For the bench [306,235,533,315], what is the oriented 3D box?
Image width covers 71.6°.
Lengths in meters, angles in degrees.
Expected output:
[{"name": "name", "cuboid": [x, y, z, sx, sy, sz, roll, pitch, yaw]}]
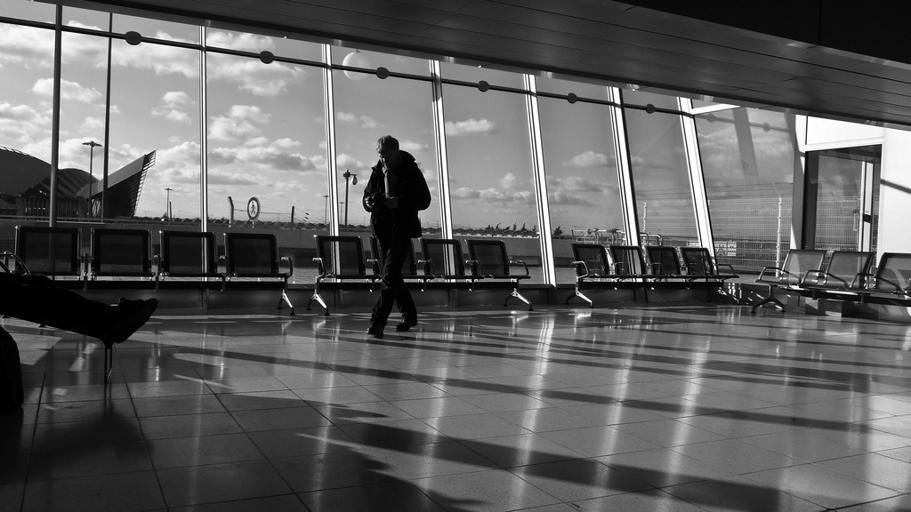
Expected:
[{"name": "bench", "cuboid": [-0.500, 0.275, 10.156, 3.425, 0.879, 0.923, 1, 21, -22]}]

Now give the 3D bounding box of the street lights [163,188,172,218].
[{"name": "street lights", "cuboid": [-4.676, -0.866, 10.287, 0.231, 0.464, 0.089, 0, 1, 43]}]

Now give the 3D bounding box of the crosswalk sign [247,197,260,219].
[{"name": "crosswalk sign", "cuboid": [-3.413, -0.809, 10.702, 0.213, 0.312, 0.048, -2, 1, -38]}]

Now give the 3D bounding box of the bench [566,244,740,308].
[{"name": "bench", "cuboid": [3.752, 0.360, 11.895, 3.661, 0.971, 1.086, 0, 9, -28]}]

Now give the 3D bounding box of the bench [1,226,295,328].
[{"name": "bench", "cuboid": [-4.367, 0.150, 9.238, 3.736, 0.916, 0.673, 1, -5, -12]}]

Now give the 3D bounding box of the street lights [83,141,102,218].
[{"name": "street lights", "cuboid": [-5.816, -1.258, 10.141, 0.248, 1.145, 0.213, -1, 1, -30]}]

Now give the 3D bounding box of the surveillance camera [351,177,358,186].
[{"name": "surveillance camera", "cuboid": [-1.767, -1.320, 11.035, 0.114, 0.128, 0.043, -8, 7, -37]}]

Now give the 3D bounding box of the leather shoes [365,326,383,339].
[{"name": "leather shoes", "cuboid": [-0.959, 0.917, 7.507, 0.123, 0.113, 0.179, -4, -29, 20]}]
